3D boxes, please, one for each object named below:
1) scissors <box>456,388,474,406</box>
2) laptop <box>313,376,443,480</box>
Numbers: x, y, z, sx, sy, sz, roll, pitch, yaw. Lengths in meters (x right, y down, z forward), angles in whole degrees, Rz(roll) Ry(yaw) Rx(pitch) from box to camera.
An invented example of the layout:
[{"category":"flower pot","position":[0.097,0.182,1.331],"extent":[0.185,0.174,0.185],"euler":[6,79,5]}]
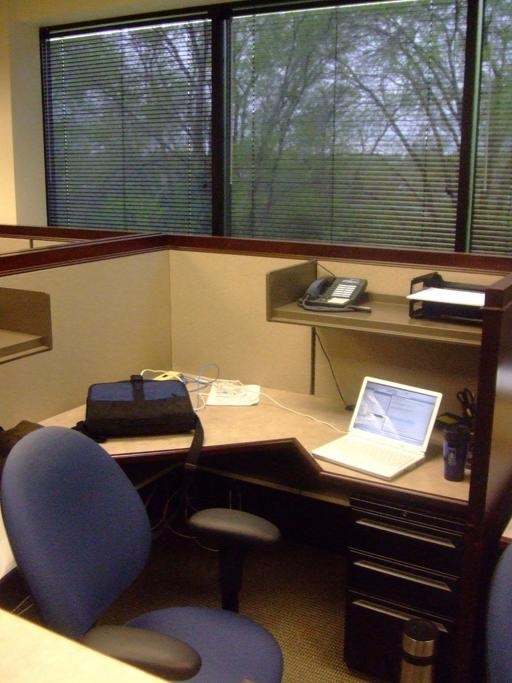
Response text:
[{"category":"scissors","position":[0.786,0.208,2.073],"extent":[0.043,0.066,0.066],"euler":[-6,18,4]},{"category":"laptop","position":[0.391,0.271,1.789],"extent":[0.298,0.226,0.307],"euler":[13,16,40]}]
